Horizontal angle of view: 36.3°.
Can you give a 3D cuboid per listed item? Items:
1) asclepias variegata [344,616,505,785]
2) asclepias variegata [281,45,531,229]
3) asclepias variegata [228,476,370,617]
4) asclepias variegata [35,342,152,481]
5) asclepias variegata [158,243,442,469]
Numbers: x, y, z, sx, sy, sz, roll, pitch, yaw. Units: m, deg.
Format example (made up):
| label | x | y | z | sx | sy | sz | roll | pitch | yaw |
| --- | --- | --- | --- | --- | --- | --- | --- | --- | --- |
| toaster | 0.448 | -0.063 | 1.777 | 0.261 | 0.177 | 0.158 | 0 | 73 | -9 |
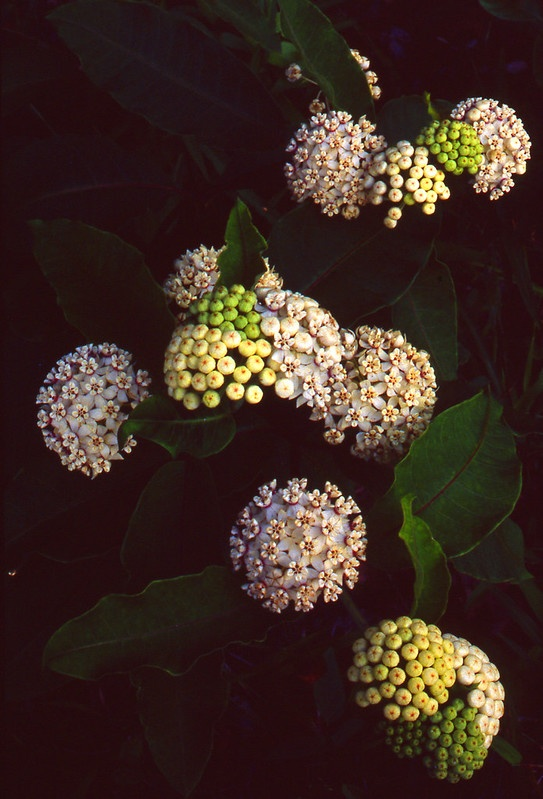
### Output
| label | x | y | z | sx | sy | sz | roll | pitch | yaw |
| --- | --- | --- | --- | --- | --- | --- | --- | --- | --- |
| asclepias variegata | 0.272 | 0.497 | 1.480 | 0.318 | 0.139 | 0.224 | 39 | 94 | -3 |
| asclepias variegata | 0.232 | -0.448 | 1.501 | 0.496 | 0.191 | 0.284 | -9 | 97 | 15 |
| asclepias variegata | 0.045 | 0.252 | 1.437 | 0.234 | 0.141 | 0.213 | 0 | 59 | 5 |
| asclepias variegata | -0.320 | 0.015 | 1.495 | 0.181 | 0.156 | 0.222 | 20 | 63 | 15 |
| asclepias variegata | 0.049 | -0.078 | 1.482 | 0.537 | 0.194 | 0.286 | 15 | 90 | -7 |
